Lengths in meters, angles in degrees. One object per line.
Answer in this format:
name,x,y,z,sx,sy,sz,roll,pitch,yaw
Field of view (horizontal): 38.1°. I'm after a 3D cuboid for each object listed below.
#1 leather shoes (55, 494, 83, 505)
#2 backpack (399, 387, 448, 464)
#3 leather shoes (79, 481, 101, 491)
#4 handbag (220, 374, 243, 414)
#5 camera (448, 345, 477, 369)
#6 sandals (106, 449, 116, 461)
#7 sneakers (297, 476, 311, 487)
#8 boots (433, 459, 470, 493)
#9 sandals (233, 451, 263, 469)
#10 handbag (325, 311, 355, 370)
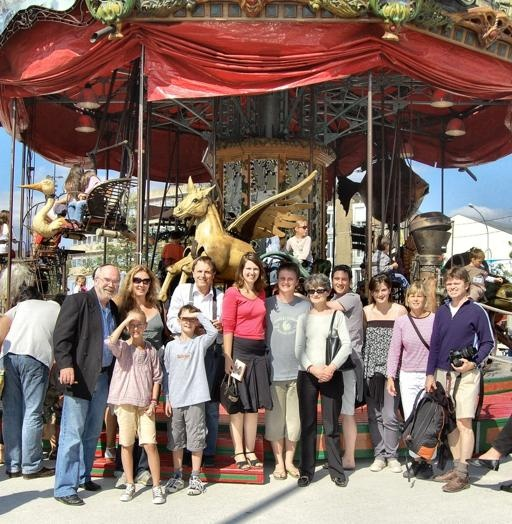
leather shoes,-1.547,1.963,6.085,0.227,0.096,0.077,-3,-5,25
backpack,1.464,1.406,6.459,0.283,0.633,0.304,1,-1,-41
leather shoes,-1.448,1.962,6.453,0.202,0.084,0.075,-1,-7,24
handbag,-0.217,1.166,6.492,0.151,0.361,0.380,2,4,-16
camera,1.765,0.817,6.337,0.202,0.188,0.120,-17,-43,17
sandals,-1.400,1.838,7.020,0.085,0.108,0.112,4,-19,-14
sneakers,0.420,1.955,6.538,0.076,0.084,0.142,-1,-1,41
boots,1.663,1.912,6.488,0.427,0.288,0.159,8,-9,-35
sandals,-0.073,1.811,6.693,0.247,0.148,0.132,0,-1,-4
handbag,0.733,0.706,6.521,0.248,0.523,0.267,0,-1,10
